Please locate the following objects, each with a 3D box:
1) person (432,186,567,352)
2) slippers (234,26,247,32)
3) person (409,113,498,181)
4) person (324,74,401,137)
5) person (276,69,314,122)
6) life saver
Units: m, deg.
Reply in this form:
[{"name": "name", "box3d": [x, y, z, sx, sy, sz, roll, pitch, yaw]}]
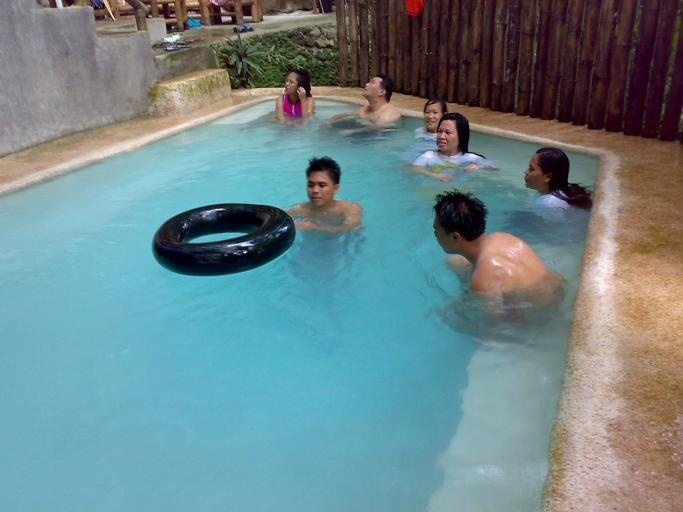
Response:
[{"name": "person", "box3d": [0.995, 0.027, 2.943, 0.741, 0.840, 0.695, 12, 41, 43]}, {"name": "slippers", "box3d": [-2.263, -5.115, 10.026, 0.345, 0.115, 0.312, 3, 21, -3]}, {"name": "person", "box3d": [1.354, -1.281, 5.335, 1.075, 0.683, 0.528, 10, 24, 31]}, {"name": "person", "box3d": [0.349, -2.346, 6.658, 0.965, 0.668, 1.002, 8, 8, -7]}, {"name": "person", "box3d": [-0.726, -2.523, 6.974, 0.590, 0.709, 0.460, -4, 26, -6]}, {"name": "life saver", "box3d": [-0.984, -0.146, 3.753, 1.056, 0.385, 0.895, -15, 27, -29]}]
